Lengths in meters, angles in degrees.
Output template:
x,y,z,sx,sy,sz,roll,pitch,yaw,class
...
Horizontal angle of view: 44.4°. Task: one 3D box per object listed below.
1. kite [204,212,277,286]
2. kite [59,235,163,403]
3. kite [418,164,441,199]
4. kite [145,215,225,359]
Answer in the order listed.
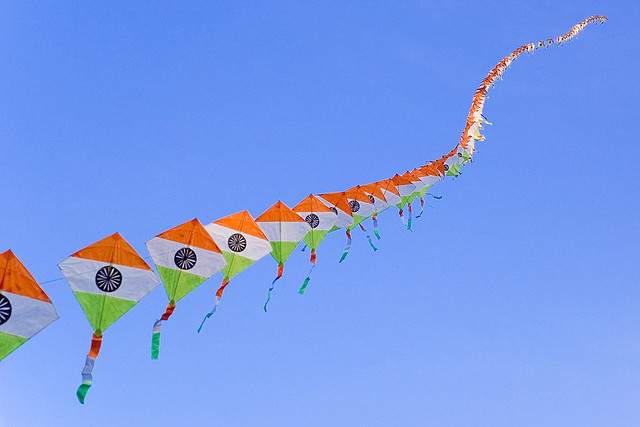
x,y,z,sx,sy,sz,roll,pitch,yaw,class
-1.926,0.751,17.838,1.421,1.793,0.184,31,-40,-4,kite
-4.419,1.953,16.074,1.576,2.838,1.800,-19,-66,9,kite
3.126,-0.911,22.683,0.414,1.043,1.089,4,-60,0,kite
-3.385,1.934,18.377,1.870,0.400,4.633,12,-57,-13,kite
